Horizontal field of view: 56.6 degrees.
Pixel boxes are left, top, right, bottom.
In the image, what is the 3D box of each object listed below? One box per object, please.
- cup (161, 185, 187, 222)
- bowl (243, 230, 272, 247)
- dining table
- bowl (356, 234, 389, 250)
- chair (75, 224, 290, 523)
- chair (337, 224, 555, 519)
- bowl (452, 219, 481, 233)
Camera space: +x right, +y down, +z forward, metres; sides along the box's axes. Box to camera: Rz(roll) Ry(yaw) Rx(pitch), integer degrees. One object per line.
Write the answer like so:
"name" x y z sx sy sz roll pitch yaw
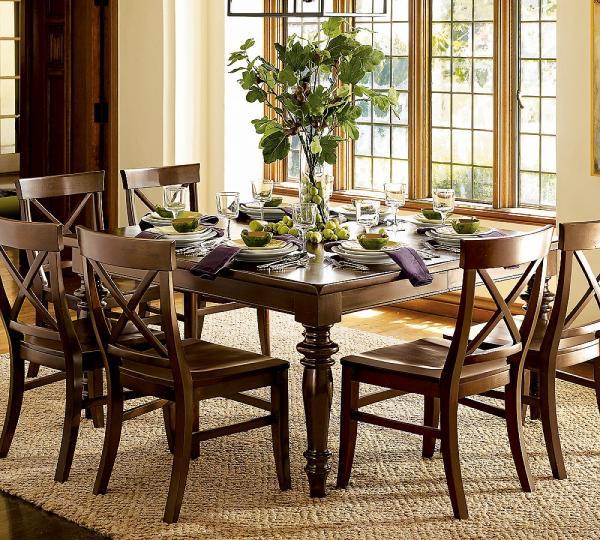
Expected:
"cup" -0.601 -0.336 2.686 0.147 0.217 0.139 0 7 0
"bowl" -0.151 -0.118 2.049 0.077 0.033 0.075 2 8 0
"dining table" 0.038 0.122 2.038 1.042 0.589 1.062 10 16 41
"bowl" 0.271 -0.102 1.993 0.079 0.034 0.077 1 8 0
"chair" -0.424 0.312 1.930 0.679 0.923 0.605 4 6 39
"chair" 0.483 0.302 1.923 0.660 0.830 0.661 -1 3 -17
"bowl" 0.700 -0.186 2.316 0.097 0.046 0.096 -1 6 0
